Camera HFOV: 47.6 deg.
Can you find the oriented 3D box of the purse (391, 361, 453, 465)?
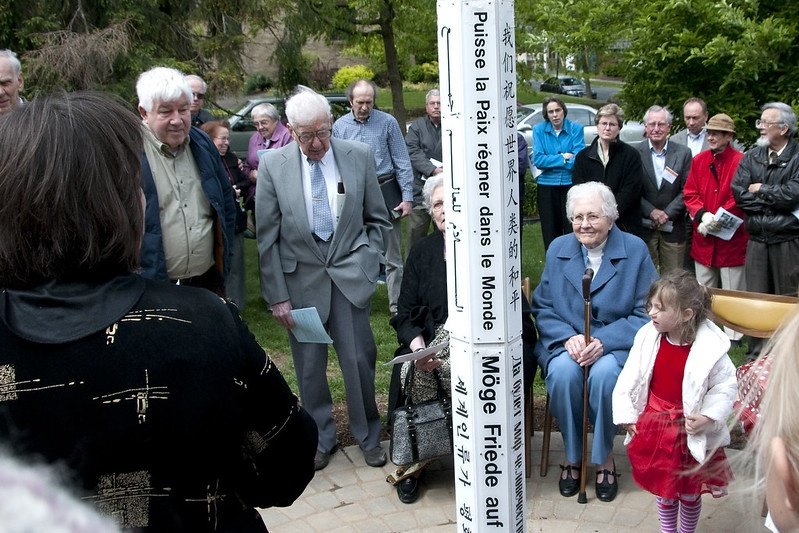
[{"bbox_3d":[0.173,0.907,5.814,0.525,0.774,0.121,-14,30,-9],"label":"purse"}]

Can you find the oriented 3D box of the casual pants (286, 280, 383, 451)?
[{"bbox_3d":[-0.468,0.671,6.359,0.579,1.468,0.331,-9,22,-10],"label":"casual pants"}]

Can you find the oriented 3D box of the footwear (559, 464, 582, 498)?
[{"bbox_3d":[1.114,1.399,5.944,0.082,0.106,0.258,-4,17,12],"label":"footwear"}]

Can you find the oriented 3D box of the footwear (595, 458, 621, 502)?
[{"bbox_3d":[1.343,1.392,5.908,0.098,0.090,0.294,-5,46,28],"label":"footwear"}]

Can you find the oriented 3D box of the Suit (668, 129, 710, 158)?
[{"bbox_3d":[2.854,-1.236,8.901,0.158,0.308,0.490,4,12,-33],"label":"Suit"}]

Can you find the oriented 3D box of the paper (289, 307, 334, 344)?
[{"bbox_3d":[-0.579,0.383,5.738,0.025,0.234,0.335,-32,-18,23],"label":"paper"}]

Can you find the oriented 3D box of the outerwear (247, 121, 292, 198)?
[{"bbox_3d":[-1.413,-1.101,9.706,0.529,0.841,0.437,9,9,21],"label":"outerwear"}]

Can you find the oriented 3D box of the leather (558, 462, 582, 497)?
[{"bbox_3d":[1.114,1.396,5.942,0.084,0.108,0.264,-4,15,13],"label":"leather"}]

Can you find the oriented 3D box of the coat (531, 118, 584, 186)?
[{"bbox_3d":[1.706,-1.197,9.659,0.529,0.735,0.411,-3,27,10],"label":"coat"}]

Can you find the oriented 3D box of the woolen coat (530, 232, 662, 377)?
[{"bbox_3d":[1.296,0.185,6.089,0.678,0.581,1.027,-1,36,24],"label":"woolen coat"}]

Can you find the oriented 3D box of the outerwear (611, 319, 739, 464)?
[{"bbox_3d":[1.639,0.716,5.457,0.708,0.772,0.350,7,17,28],"label":"outerwear"}]

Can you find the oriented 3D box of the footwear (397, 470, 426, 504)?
[{"bbox_3d":[0.061,1.451,5.990,0.092,0.104,0.256,2,26,7],"label":"footwear"}]

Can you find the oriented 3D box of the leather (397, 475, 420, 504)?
[{"bbox_3d":[0.063,1.466,5.943,0.087,0.088,0.217,1,28,1],"label":"leather"}]

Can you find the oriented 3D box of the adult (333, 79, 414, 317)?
[{"bbox_3d":[-0.259,-0.693,9.321,0.800,2.522,0.798,1,33,7],"label":"adult"}]

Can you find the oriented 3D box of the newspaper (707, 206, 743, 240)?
[{"bbox_3d":[2.801,-0.365,7.878,0.251,0.275,0.268,25,10,19],"label":"newspaper"}]

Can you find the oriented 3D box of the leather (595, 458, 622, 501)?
[{"bbox_3d":[1.366,1.396,5.998,0.137,0.146,0.478,-1,15,15],"label":"leather"}]

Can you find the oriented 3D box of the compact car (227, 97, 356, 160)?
[{"bbox_3d":[-1.949,-2.502,17.873,2.638,1.500,1.610,-1,14,-3],"label":"compact car"}]
